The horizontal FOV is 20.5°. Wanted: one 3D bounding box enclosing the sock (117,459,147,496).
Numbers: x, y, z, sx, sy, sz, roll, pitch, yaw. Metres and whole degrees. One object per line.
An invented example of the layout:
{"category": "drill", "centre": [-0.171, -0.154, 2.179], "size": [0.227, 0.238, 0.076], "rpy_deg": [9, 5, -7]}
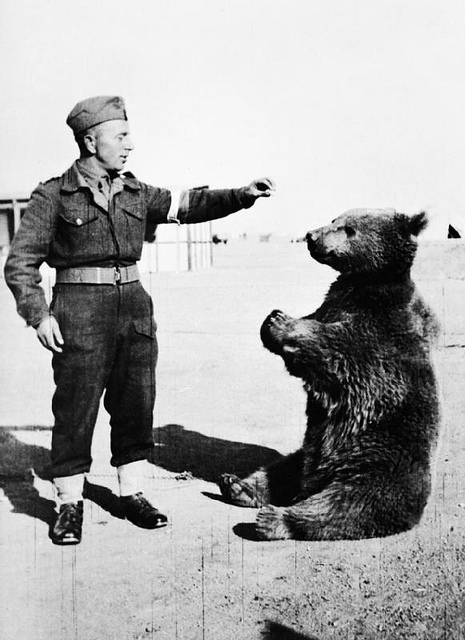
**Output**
{"category": "sock", "centre": [-0.468, 0.718, 5.845], "size": [0.170, 0.184, 0.145], "rpy_deg": [0, 1, -17]}

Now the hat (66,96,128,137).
{"category": "hat", "centre": [-0.595, -0.890, 5.590], "size": [0.256, 0.173, 0.219], "rpy_deg": [-1, 2, -6]}

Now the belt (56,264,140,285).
{"category": "belt", "centre": [-0.597, -0.196, 5.667], "size": [0.361, 0.085, 0.108], "rpy_deg": [-1, 2, -7]}

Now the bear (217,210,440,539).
{"category": "bear", "centre": [0.514, 0.241, 5.908], "size": [0.865, 1.488, 0.325], "rpy_deg": [0, 1, 5]}

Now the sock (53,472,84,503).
{"category": "sock", "centre": [-0.733, 0.757, 5.782], "size": [0.139, 0.133, 0.099], "rpy_deg": [-1, 2, -21]}
